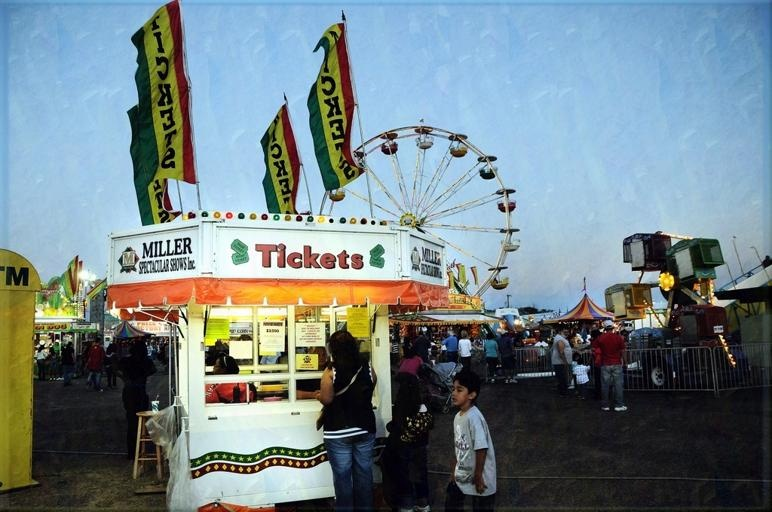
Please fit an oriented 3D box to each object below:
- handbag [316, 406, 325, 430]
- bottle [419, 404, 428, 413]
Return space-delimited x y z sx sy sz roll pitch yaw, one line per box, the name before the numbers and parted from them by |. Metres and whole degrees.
handbag | -0.898 2.214 8.152 0.109 0.338 0.518 -2 -7 -10
bottle | 0.530 2.178 8.542 0.083 0.111 0.222 -5 -7 20
